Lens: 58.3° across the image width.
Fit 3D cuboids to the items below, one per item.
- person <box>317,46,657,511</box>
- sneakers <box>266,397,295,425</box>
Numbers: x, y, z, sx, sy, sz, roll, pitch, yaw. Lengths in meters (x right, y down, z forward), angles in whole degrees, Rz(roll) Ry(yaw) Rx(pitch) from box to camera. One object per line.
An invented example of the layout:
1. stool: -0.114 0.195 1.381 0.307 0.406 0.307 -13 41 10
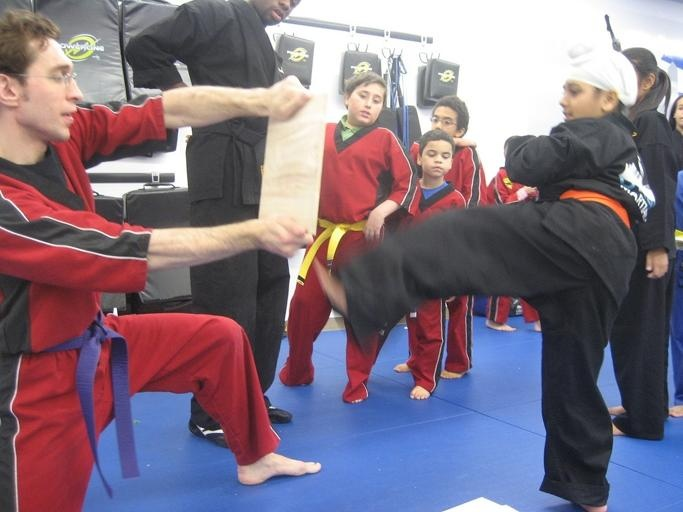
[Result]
1. person: 0.665 0.082 2.239 1.291 1.744 0.421 -2 9 -21
2. sneakers: -0.304 0.776 3.033 0.203 0.137 0.067 -3 0 13
